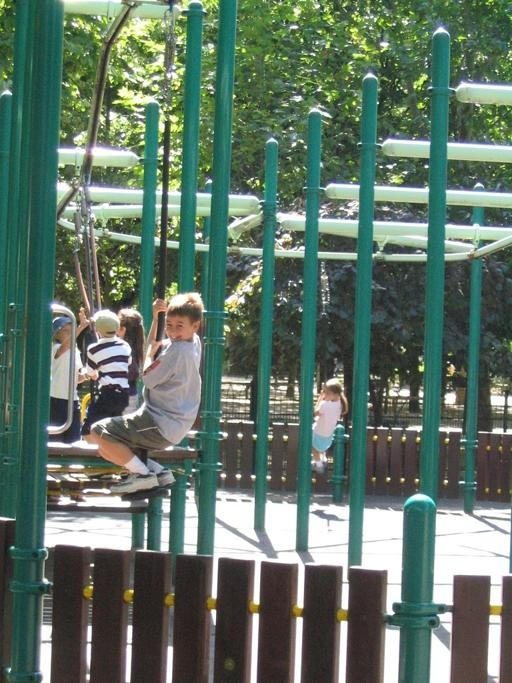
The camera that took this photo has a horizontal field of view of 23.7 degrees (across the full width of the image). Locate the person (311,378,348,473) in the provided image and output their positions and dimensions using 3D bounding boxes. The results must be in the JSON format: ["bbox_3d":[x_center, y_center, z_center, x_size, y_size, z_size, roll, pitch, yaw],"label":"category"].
[{"bbox_3d":[0.806,0.948,13.612,0.370,1.045,0.863,1,-3,3],"label":"person"}]

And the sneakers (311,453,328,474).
[{"bbox_3d":[0.708,1.407,13.779,0.136,0.195,0.472,-2,-13,-2],"label":"sneakers"}]

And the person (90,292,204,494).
[{"bbox_3d":[-0.519,0.267,6.299,0.514,1.028,0.708,1,-3,13],"label":"person"}]

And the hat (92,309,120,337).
[{"bbox_3d":[-0.903,-0.124,7.318,0.113,0.093,0.161,-1,30,-12],"label":"hat"}]

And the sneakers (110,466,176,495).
[{"bbox_3d":[-0.555,0.710,6.080,0.323,0.150,0.122,-5,-5,-19],"label":"sneakers"}]
